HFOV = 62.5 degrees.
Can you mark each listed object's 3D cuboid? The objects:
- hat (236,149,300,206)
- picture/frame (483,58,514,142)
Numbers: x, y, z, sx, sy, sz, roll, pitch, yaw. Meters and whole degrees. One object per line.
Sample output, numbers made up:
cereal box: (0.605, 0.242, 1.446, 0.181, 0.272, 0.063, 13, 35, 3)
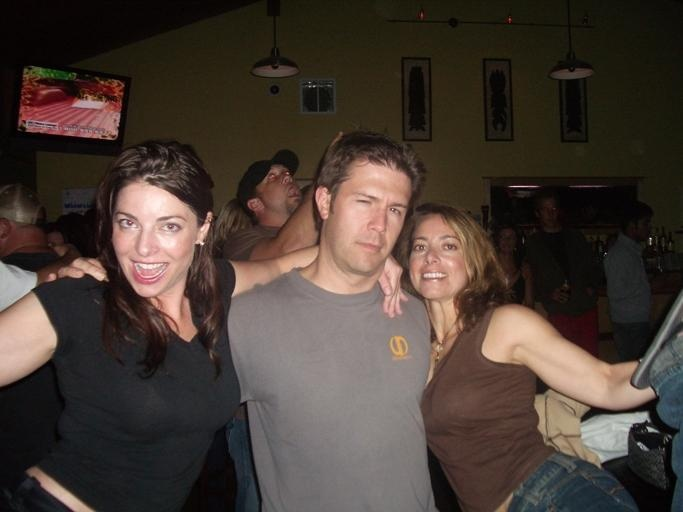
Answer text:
hat: (-0.639, -0.608, 4.173, 0.559, 0.168, 0.364, -41, 3, 15)
picture/frame: (2.136, -2.116, 7.661, 0.450, 1.097, 0.054, 14, 29, 43)
